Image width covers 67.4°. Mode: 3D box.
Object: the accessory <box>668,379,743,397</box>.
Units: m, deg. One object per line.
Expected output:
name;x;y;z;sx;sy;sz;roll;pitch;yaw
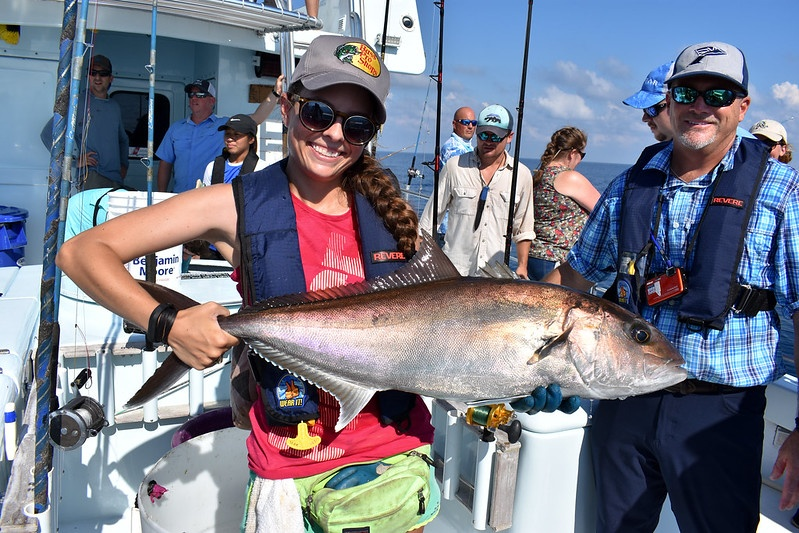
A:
accessory;1.596;0.655;3.167;0.196;0.073;0.149;1;-2;18

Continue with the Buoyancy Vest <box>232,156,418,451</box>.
Buoyancy Vest;-0.477;0.167;2.692;0.719;1.153;0.359;-2;-7;-22

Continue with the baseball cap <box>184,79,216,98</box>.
baseball cap;-2.119;-1.882;6.478;0.226;0.201;0.335;15;9;34

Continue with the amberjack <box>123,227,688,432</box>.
amberjack;0.097;0.230;2.498;2.270;0.792;0.431;3;11;-8

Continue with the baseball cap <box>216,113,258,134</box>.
baseball cap;-1.573;-1.388;5.958;0.237;0.192;0.327;8;-9;30

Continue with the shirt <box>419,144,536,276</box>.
shirt;0.752;-0.492;5.478;1.126;1.302;0.528;7;10;11

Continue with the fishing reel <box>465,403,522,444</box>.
fishing reel;0.443;0.816;2.958;0.223;0.289;0.215;2;1;8

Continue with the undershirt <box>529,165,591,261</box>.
undershirt;1.477;-0.474;5.548;0.460;0.864;0.634;8;16;-19

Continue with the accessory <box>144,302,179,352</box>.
accessory;-0.984;0.251;2.439;0.086;0.179;0.141;8;-7;8

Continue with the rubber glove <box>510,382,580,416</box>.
rubber glove;0.646;0.547;2.482;0.349;0.155;0.118;3;-28;-10

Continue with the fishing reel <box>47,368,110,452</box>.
fishing reel;-1.600;0.725;2.971;0.233;0.335;0.310;4;5;-6
